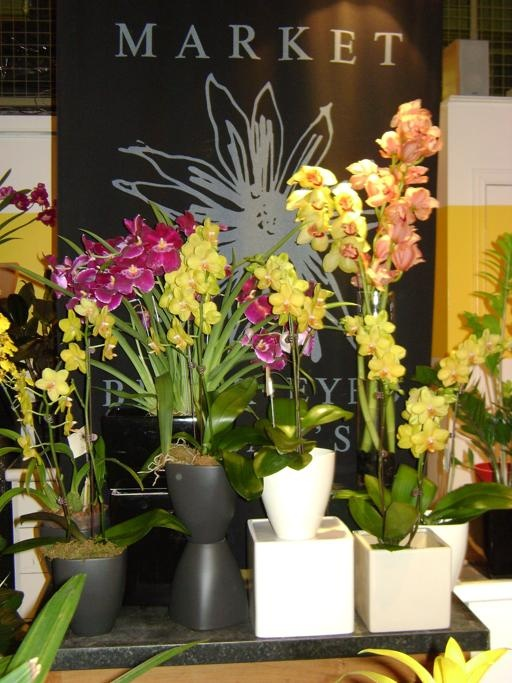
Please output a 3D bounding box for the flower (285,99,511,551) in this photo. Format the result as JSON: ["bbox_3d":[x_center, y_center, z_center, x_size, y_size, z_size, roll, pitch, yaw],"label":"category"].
[{"bbox_3d":[0.280,-0.056,1.199,0.442,0.856,0.594,1,6,3],"label":"flower"}]

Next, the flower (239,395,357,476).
[{"bbox_3d":[0.072,0.175,1.138,0.201,0.072,0.183,-12,26,2],"label":"flower"}]

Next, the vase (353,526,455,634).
[{"bbox_3d":[0.234,0.382,1.011,0.142,0.125,0.140,0,-2,4],"label":"vase"}]

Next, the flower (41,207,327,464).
[{"bbox_3d":[-0.127,-0.046,1.192,0.485,0.480,0.475,0,5,1],"label":"flower"}]

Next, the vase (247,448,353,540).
[{"bbox_3d":[0.068,0.235,0.948,0.137,0.141,0.133,1,-4,-2],"label":"vase"}]
